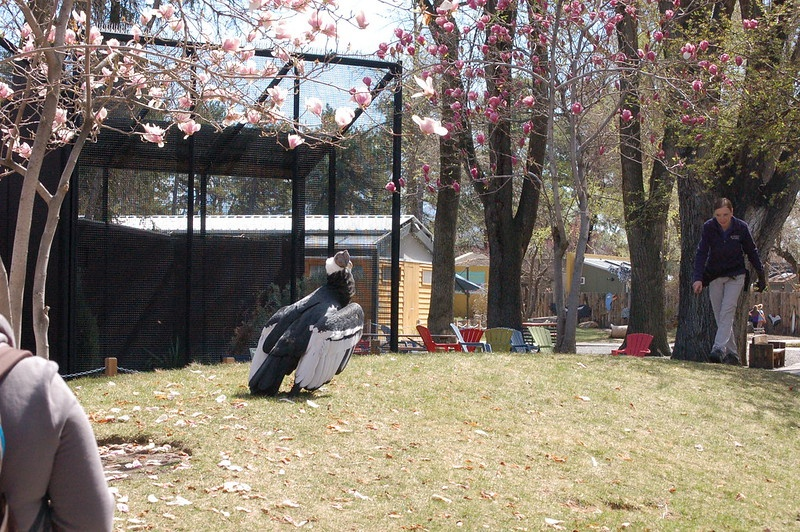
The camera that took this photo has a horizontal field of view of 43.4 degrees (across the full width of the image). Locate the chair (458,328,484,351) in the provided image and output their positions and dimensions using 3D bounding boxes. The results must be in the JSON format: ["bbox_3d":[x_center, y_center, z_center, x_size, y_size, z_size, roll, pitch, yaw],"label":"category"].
[{"bbox_3d":[1.477,1.499,20.391,0.369,0.445,0.463,-1,-9,5],"label":"chair"}]

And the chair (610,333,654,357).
[{"bbox_3d":[4.645,1.550,19.654,0.439,0.423,0.734,2,-1,-8],"label":"chair"}]

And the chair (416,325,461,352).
[{"bbox_3d":[0.773,1.447,19.621,0.769,0.587,0.507,-1,-1,0],"label":"chair"}]

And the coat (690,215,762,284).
[{"bbox_3d":[5.285,-0.293,16.320,1.342,1.476,0.911,1,5,31],"label":"coat"}]

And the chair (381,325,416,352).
[{"bbox_3d":[0.169,1.589,22.001,0.811,0.604,0.488,-2,0,28],"label":"chair"}]

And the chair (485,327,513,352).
[{"bbox_3d":[1.907,1.425,19.275,0.367,0.459,0.500,0,-6,1],"label":"chair"}]

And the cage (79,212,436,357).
[{"bbox_3d":[-3.138,0.486,21.295,7.154,3.250,3.877,3,-7,-5],"label":"cage"}]

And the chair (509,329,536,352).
[{"bbox_3d":[2.343,1.510,19.996,0.615,0.613,0.448,0,-2,27],"label":"chair"}]

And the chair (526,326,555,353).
[{"bbox_3d":[3.009,1.563,21.189,0.478,0.556,0.602,-1,1,-39],"label":"chair"}]

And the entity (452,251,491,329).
[{"bbox_3d":[3.156,0.962,47.632,2.682,3.348,3.245,-2,-8,13],"label":"entity"}]

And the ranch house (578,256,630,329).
[{"bbox_3d":[9.171,1.333,44.981,1.656,3.122,3.130,-1,2,6],"label":"ranch house"}]

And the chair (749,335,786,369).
[{"bbox_3d":[7.116,1.672,19.386,0.494,0.606,1.431,1,-1,31],"label":"chair"}]

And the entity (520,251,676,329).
[{"bbox_3d":[9.813,1.085,47.479,5.235,3.539,5.555,2,-1,7],"label":"entity"}]

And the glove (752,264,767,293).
[{"bbox_3d":[5.769,0.203,16.080,0.161,0.404,0.537,1,-1,20],"label":"glove"}]
